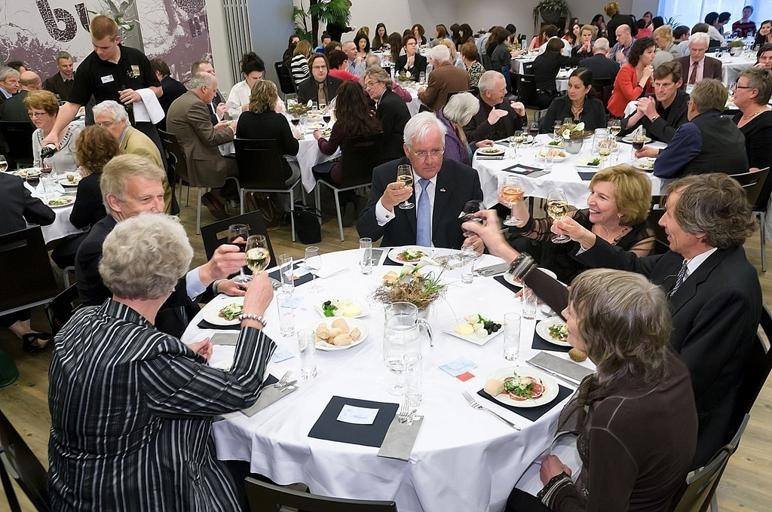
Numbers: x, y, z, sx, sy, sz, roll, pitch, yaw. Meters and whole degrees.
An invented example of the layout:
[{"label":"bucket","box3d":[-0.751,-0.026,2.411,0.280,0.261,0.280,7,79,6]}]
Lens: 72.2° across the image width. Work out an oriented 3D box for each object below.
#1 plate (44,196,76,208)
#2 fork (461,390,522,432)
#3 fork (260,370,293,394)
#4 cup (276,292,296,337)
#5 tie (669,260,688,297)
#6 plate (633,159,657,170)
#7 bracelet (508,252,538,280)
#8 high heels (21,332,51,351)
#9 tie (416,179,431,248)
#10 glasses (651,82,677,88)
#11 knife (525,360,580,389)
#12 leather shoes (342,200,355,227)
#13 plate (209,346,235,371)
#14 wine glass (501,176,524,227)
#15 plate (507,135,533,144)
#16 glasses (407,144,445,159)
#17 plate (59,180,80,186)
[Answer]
[{"label":"plate","box3d":[-2.544,-0.443,4.174,0.183,0.035,0.291,-13,27,-28]},{"label":"fork","box3d":[0.423,0.626,2.119,0.027,0.030,0.192,-29,50,-29]},{"label":"fork","box3d":[-0.451,0.547,2.257,0.108,0.019,0.069,-11,61,-11]},{"label":"cup","box3d":[-0.487,0.277,2.572,0.124,0.224,0.130,0,-2,0]},{"label":"tie","box3d":[1.429,0.087,2.601,0.049,0.055,0.387,14,36,27]},{"label":"plate","box3d":[2.139,-0.771,4.411,0.156,0.065,0.319,12,26,25]},{"label":"bracelet","box3d":[0.627,0.049,2.452,0.073,0.126,0.106,33,12,-20]},{"label":"high heels","box3d":[-2.602,0.640,3.964,0.231,0.129,0.091,-2,-12,-37]},{"label":"tie","box3d":[0.247,-0.278,3.387,0.104,0.421,0.109,1,22,2]},{"label":"glasses","box3d":[2.724,-1.682,5.149,0.126,0.070,0.111,-21,24,-37]},{"label":"knife","box3d":[0.708,0.511,2.265,0.028,0.012,0.241,-27,30,-30]},{"label":"leather shoes","box3d":[-0.408,-0.465,5.881,0.111,0.311,0.200,0,0,-6]},{"label":"plate","box3d":[-0.732,0.454,2.395,0.100,0.025,0.106,1,38,8]},{"label":"wine glass","box3d":[0.704,-0.321,2.982,0.117,0.251,0.114,-13,14,-33]},{"label":"plate","box3d":[1.260,-1.103,4.971,0.165,0.111,0.172,-3,16,3]},{"label":"glasses","box3d":[0.240,-0.641,3.236,0.200,0.073,0.082,1,23,3]},{"label":"plate","box3d":[-2.667,-0.623,4.507,0.100,0.021,0.104,4,23,-5]}]
